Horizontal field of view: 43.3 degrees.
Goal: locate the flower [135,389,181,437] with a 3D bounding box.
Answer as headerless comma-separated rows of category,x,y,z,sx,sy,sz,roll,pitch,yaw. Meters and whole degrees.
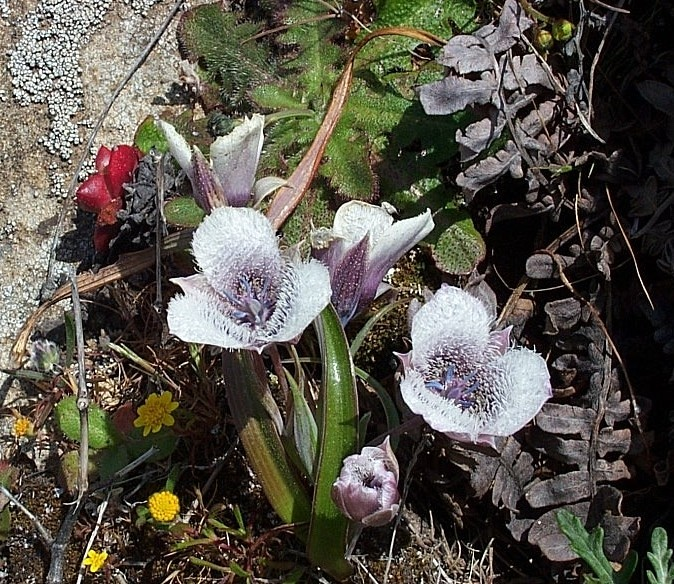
flower,-0.506,0.336,2.377,0.123,0.041,0.122,-41,77,8

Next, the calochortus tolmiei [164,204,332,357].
calochortus tolmiei,-0.208,-0.027,2.070,0.376,0.186,0.354,1,69,-5

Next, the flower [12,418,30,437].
flower,-0.943,0.405,2.547,0.046,0.035,0.059,3,91,-5

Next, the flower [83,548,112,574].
flower,-0.681,0.768,2.399,0.067,0.031,0.080,-12,76,20

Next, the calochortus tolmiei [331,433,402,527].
calochortus tolmiei,0.073,0.471,2.072,0.151,0.124,0.212,20,50,9

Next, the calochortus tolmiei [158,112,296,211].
calochortus tolmiei,-0.312,-0.332,2.218,0.280,0.278,0.220,-17,23,-14
